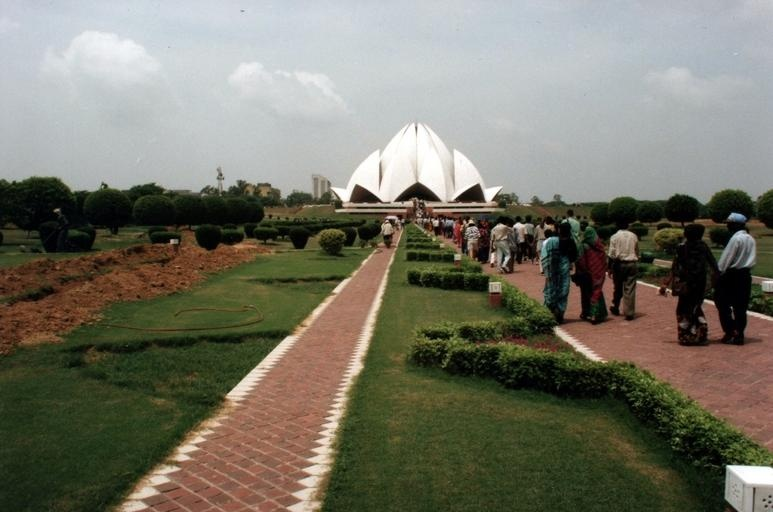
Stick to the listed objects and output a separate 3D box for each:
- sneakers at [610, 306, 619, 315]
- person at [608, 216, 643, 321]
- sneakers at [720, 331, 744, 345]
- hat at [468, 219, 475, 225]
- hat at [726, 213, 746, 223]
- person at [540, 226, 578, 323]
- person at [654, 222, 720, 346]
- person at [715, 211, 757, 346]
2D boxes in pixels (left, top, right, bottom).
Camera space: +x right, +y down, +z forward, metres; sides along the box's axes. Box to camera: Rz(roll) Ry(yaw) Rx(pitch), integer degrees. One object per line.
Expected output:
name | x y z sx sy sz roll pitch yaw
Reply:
sneakers | 4.276 1.021 9.170 0.100 0.192 0.214 7 19 26
person | 4.290 0.235 8.870 0.474 1.797 0.954 2 9 26
sneakers | 4.971 1.192 7.067 0.142 0.243 0.262 -2 10 -35
hat | 2.934 -1.154 16.712 0.201 0.147 0.267 -1 8 3
hat | 5.030 -0.535 7.060 0.183 0.085 0.244 0 4 2
person | 2.926 0.308 8.309 0.577 1.798 0.602 1 9 20
person | 4.576 0.397 7.417 0.698 1.768 1.214 3 9 29
person | 5.088 0.334 7.159 0.434 1.887 0.715 4 10 34
